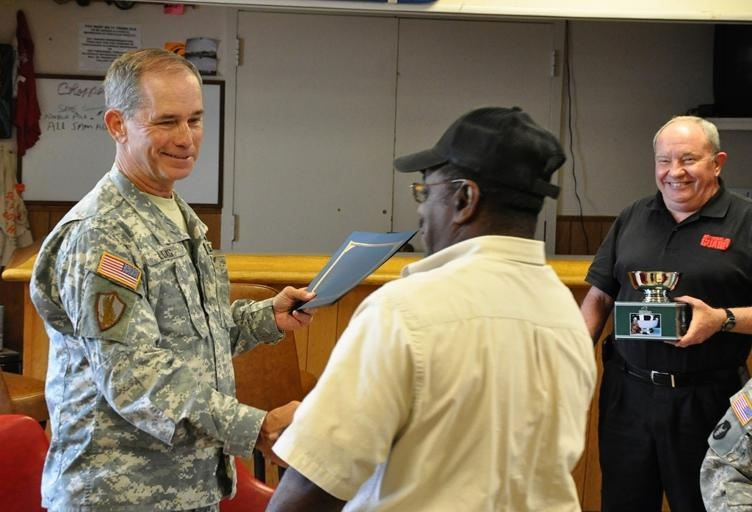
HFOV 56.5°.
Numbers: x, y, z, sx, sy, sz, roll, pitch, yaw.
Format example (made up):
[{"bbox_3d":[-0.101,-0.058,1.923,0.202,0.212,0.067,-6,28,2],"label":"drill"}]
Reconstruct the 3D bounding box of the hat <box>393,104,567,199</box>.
[{"bbox_3d":[0.312,-0.262,1.851,0.336,0.188,0.218,11,6,13],"label":"hat"}]

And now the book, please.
[{"bbox_3d":[-0.074,0.031,2.359,0.411,0.100,0.246,-42,24,-12],"label":"book"}]

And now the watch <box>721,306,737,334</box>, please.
[{"bbox_3d":[1.361,0.250,2.695,0.048,0.083,0.054,5,6,31],"label":"watch"}]
